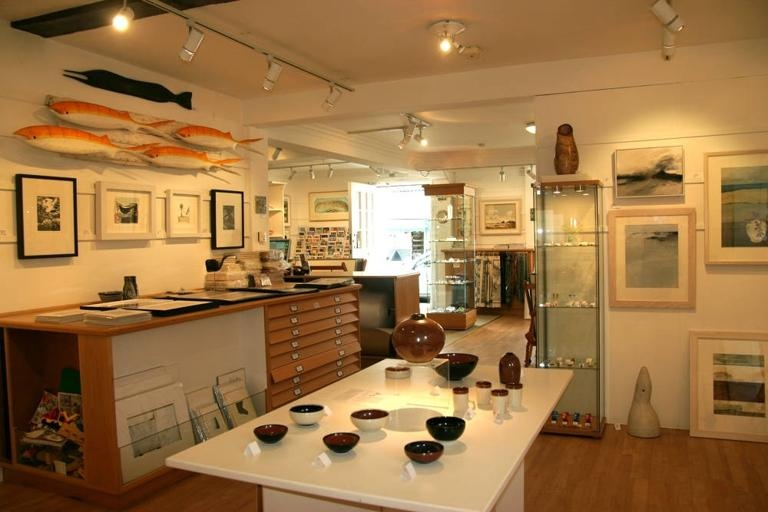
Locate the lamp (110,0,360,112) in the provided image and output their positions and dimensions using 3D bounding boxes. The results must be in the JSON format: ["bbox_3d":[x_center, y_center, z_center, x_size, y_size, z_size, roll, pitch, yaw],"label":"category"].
[{"bbox_3d":[-1.258,-1.921,5.225,0.530,0.827,2.285,12,19,41],"label":"lamp"}]

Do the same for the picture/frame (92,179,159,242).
[{"bbox_3d":[-2.695,-0.469,5.405,0.098,0.570,0.740,-3,-1,34],"label":"picture/frame"}]

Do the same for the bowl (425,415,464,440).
[{"bbox_3d":[0.360,0.996,3.073,0.217,0.103,0.201,-1,14,0],"label":"bowl"}]

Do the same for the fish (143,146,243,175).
[{"bbox_3d":[-2.168,-1.081,6.038,0.199,0.261,1.322,32,18,36],"label":"fish"}]

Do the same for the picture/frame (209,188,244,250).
[{"bbox_3d":[-1.949,-0.443,6.522,0.176,0.798,0.615,4,16,20],"label":"picture/frame"}]

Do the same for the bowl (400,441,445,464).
[{"bbox_3d":[0.218,1.061,2.880,0.215,0.078,0.189,0,14,4],"label":"bowl"}]

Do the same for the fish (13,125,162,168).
[{"bbox_3d":[-2.918,-1.053,5.140,0.222,0.419,1.134,9,17,34],"label":"fish"}]

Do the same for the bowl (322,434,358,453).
[{"bbox_3d":[-0.246,1.046,2.973,0.205,0.082,0.158,-2,14,-6],"label":"bowl"}]

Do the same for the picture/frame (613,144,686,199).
[{"bbox_3d":[2.792,-0.878,5.447,0.667,0.454,0.064,0,2,19],"label":"picture/frame"}]

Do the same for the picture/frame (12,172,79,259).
[{"bbox_3d":[-3.136,-0.368,4.883,0.139,0.781,0.611,13,21,41],"label":"picture/frame"}]

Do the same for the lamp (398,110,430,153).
[{"bbox_3d":[0.467,-1.896,8.283,0.500,0.245,0.675,-12,-6,8],"label":"lamp"}]

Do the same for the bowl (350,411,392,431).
[{"bbox_3d":[-0.092,0.975,3.142,0.148,0.055,0.140,-1,4,0],"label":"bowl"}]

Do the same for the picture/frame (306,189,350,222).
[{"bbox_3d":[-1.412,-1.315,13.716,1.057,0.638,0.041,3,8,20],"label":"picture/frame"}]

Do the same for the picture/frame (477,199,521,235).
[{"bbox_3d":[2.872,-0.949,12.877,0.994,0.761,0.108,0,-4,22],"label":"picture/frame"}]

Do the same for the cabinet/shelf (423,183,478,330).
[{"bbox_3d":[1.330,0.030,10.215,0.905,2.827,0.764,0,16,7],"label":"cabinet/shelf"}]

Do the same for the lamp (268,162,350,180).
[{"bbox_3d":[-1.945,-2.148,13.053,1.783,0.383,1.394,-4,14,-11],"label":"lamp"}]

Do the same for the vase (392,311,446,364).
[{"bbox_3d":[0.248,0.589,3.815,0.418,0.316,0.394,-2,2,9],"label":"vase"}]

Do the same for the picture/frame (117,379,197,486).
[{"bbox_3d":[-2.004,1.483,4.477,0.195,0.661,0.788,-11,1,29],"label":"picture/frame"}]
